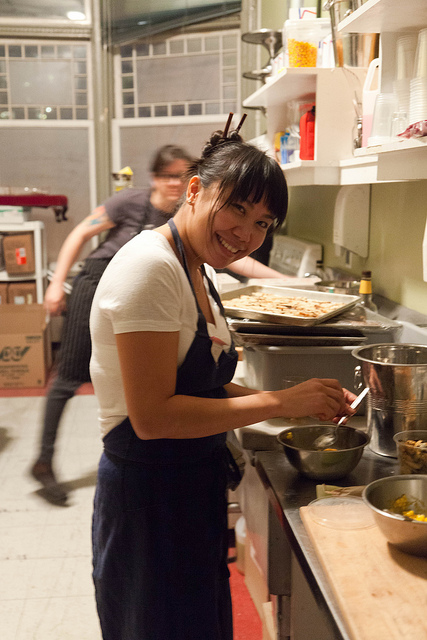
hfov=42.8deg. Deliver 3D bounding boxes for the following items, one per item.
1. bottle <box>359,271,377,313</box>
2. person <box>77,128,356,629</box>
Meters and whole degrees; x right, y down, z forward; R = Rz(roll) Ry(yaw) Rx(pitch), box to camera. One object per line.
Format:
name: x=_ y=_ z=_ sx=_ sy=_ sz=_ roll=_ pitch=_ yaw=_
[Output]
bottle: x=0.520 y=-0.098 z=1.832 sx=0.052 sy=0.135 sz=0.129 roll=1 pitch=12 yaw=14
person: x=-0.027 y=0.145 z=1.021 sx=0.414 sy=0.981 sz=0.296 roll=-9 pitch=14 yaw=-30
